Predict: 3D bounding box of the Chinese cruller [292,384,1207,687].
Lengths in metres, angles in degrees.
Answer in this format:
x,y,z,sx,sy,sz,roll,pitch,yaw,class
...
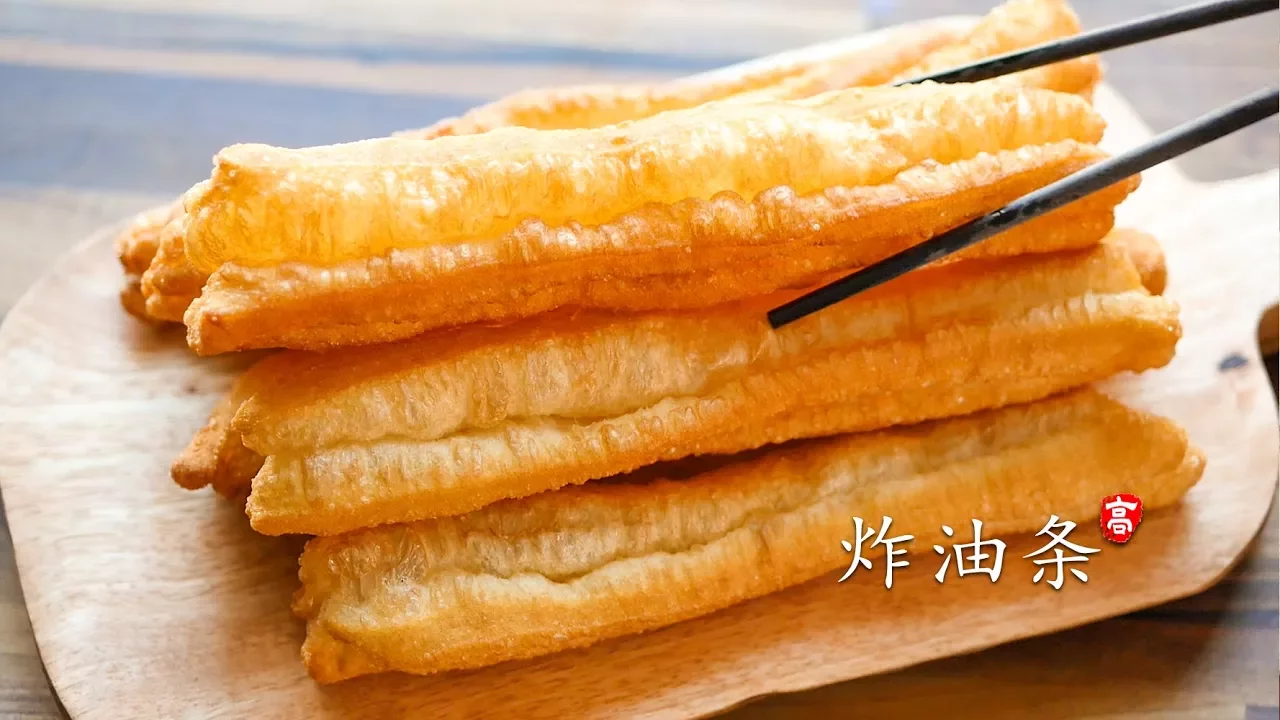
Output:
x,y,z,sx,sy,sz,roll,pitch,yaw,class
0.117,0.258,1.970,1.109,0.195,0.162,-10,43,-7,Chinese cruller
